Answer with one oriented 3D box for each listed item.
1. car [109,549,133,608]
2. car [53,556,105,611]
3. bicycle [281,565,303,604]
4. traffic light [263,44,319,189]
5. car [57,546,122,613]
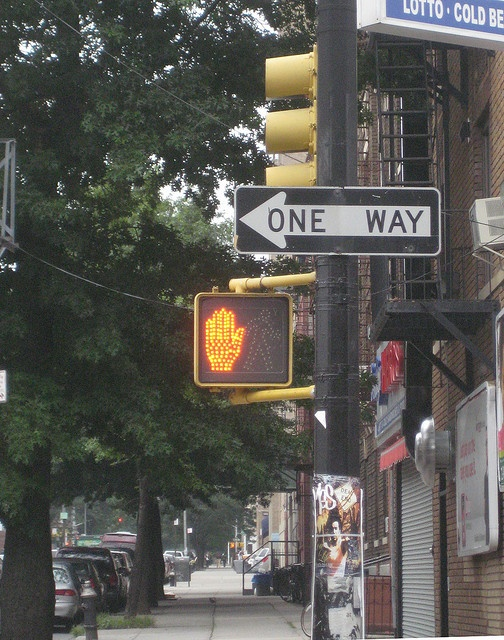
[{"bbox_3d":[-2.736,5.613,38.158,0.665,0.893,1.681,0,-4,2],"label":"car"},{"bbox_3d":[-3.122,4.815,32.539,0.842,1.153,2.215,1,-1,-2],"label":"car"},{"bbox_3d":[0.841,5.825,39.078,0.408,0.736,0.996,2,3,-6],"label":"bicycle"},{"bbox_3d":[0.365,-1.819,16.397,0.523,1.345,0.530,-3,-4,7],"label":"traffic light"},{"bbox_3d":[-3.028,5.201,35.387,0.732,1.059,1.812,0,-2,2],"label":"car"}]
